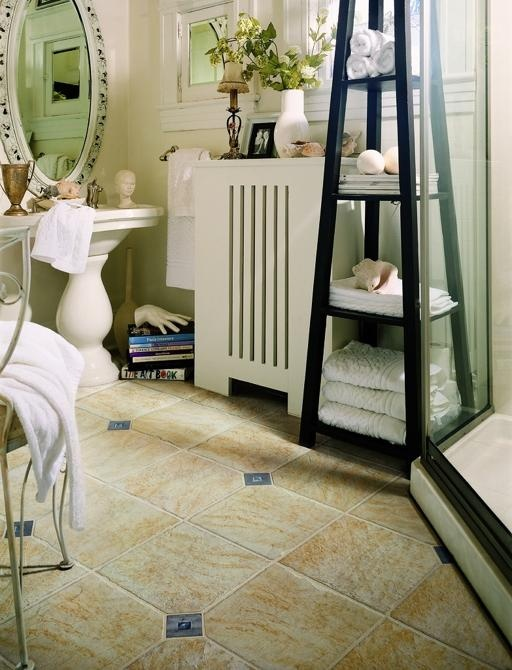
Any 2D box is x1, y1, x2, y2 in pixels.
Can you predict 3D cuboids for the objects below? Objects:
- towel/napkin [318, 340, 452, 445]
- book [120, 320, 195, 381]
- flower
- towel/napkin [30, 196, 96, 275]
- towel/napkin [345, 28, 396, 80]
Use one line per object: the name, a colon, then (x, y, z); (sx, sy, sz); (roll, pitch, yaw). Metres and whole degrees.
towel/napkin: (0.375, 0.191, 1.716); (0.303, 0.158, 0.292); (9, 10, 41)
book: (-0.488, 0.052, 2.625); (0.288, 0.193, 0.300); (0, 10, -15)
flower: (0.067, -1.257, 2.266); (0.495, 0.258, 0.318); (6, 49, 11)
towel/napkin: (-0.794, -0.402, 2.153); (0.233, 0.299, 0.129); (11, 3, -6)
towel/napkin: (0.352, -0.860, 1.596); (0.157, 0.165, 0.069); (10, 14, 37)
